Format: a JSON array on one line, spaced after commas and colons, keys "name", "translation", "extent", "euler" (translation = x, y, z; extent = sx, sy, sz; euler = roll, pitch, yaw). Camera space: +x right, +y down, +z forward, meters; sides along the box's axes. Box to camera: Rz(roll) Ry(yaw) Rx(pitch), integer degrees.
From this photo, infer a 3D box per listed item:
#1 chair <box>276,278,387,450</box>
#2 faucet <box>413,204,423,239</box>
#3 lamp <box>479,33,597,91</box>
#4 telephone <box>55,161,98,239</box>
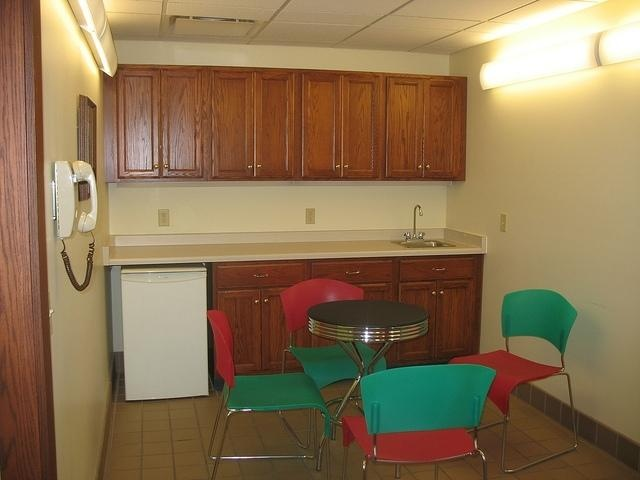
[{"name": "chair", "translation": [-0.007, 0.674, 3.364], "extent": [0.767, 1.063, 0.809], "euler": [-1, 0, -18]}, {"name": "faucet", "translation": [0.971, -0.180, 4.847], "extent": [0.112, 0.339, 0.383], "euler": [-2, 7, 12]}, {"name": "lamp", "translation": [1.645, -1.322, 3.630], "extent": [0.134, 0.172, 0.720], "euler": [-5, 7, -30]}, {"name": "telephone", "translation": [-1.032, -0.175, 2.069], "extent": [0.160, 0.339, 0.486], "euler": [-6, 7, -24]}]
